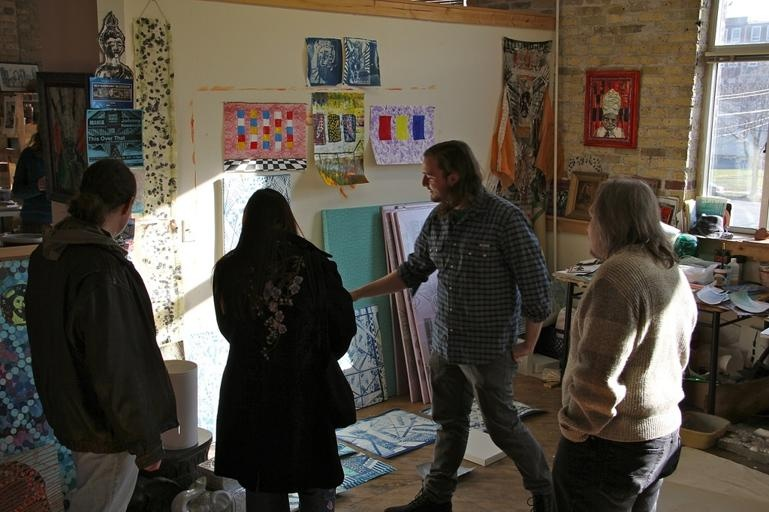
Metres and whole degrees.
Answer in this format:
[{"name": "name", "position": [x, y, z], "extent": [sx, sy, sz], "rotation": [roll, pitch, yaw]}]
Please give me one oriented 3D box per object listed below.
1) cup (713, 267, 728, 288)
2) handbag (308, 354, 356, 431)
[{"name": "cup", "position": [2.979, 0.196, 5.201], "extent": [0.142, 0.221, 0.149], "rotation": [-1, 4, 0]}, {"name": "handbag", "position": [-0.243, 0.734, 3.140], "extent": [0.088, 0.331, 0.358], "rotation": [-9, 7, 3]}]
